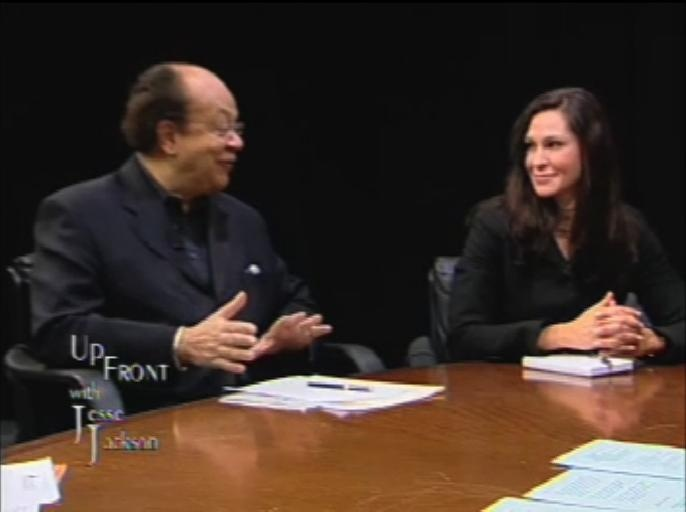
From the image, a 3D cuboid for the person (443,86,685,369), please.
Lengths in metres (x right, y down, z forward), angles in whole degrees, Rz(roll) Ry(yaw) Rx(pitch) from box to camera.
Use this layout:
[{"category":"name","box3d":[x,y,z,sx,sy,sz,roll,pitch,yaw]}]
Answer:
[{"category":"person","box3d":[0.607,-0.080,1.723,0.631,0.728,0.196,0,16,6]}]

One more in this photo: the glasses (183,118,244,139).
[{"category":"glasses","box3d":[-0.353,-0.335,1.717,0.123,0.027,0.064,-1,1,7]}]

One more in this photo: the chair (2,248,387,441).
[{"category":"chair","box3d":[-0.418,0.306,1.836,0.705,0.733,0.679,2,-9,-38]}]

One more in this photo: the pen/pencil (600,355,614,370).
[{"category":"pen/pencil","box3d":[0.682,0.272,1.648,0.035,0.011,0.023,21,-2,-9]}]
